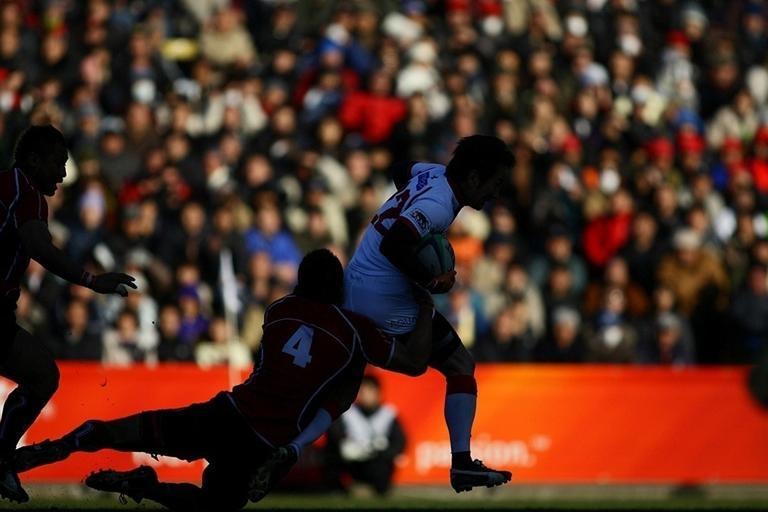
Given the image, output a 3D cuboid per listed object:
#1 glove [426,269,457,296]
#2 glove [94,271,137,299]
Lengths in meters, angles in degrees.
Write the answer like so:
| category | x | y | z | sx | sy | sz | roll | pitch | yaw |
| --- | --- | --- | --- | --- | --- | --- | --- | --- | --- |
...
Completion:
| category | x | y | z | sx | sy | sz | roll | pitch | yaw |
| --- | --- | --- | --- | --- | --- | --- | --- | --- | --- |
| glove | 0.580 | 0.263 | 11.986 | 0.250 | 0.202 | 0.193 | 2 | -5 | 1 |
| glove | -2.633 | 0.284 | 11.945 | 0.421 | 0.233 | 0.328 | 5 | 3 | 5 |
